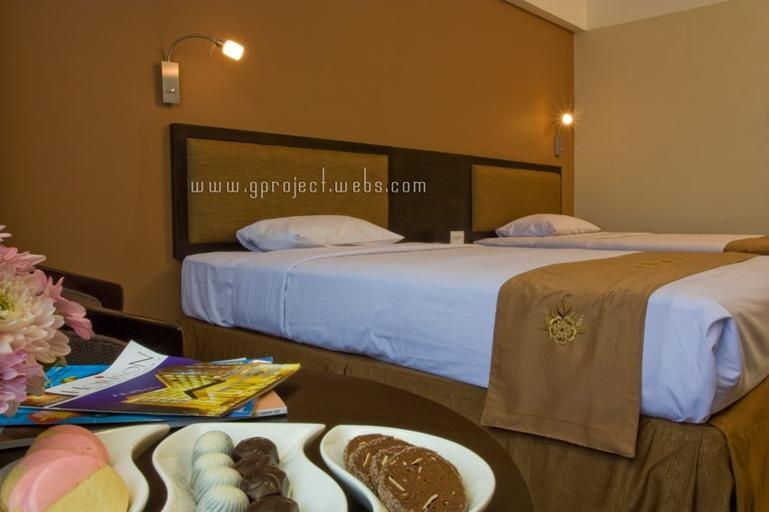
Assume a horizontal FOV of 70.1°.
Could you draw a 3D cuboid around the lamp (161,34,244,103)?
[{"bbox_3d":[-0.978,-0.985,2.928,0.417,0.377,0.191,-2,17,-12],"label":"lamp"}]
